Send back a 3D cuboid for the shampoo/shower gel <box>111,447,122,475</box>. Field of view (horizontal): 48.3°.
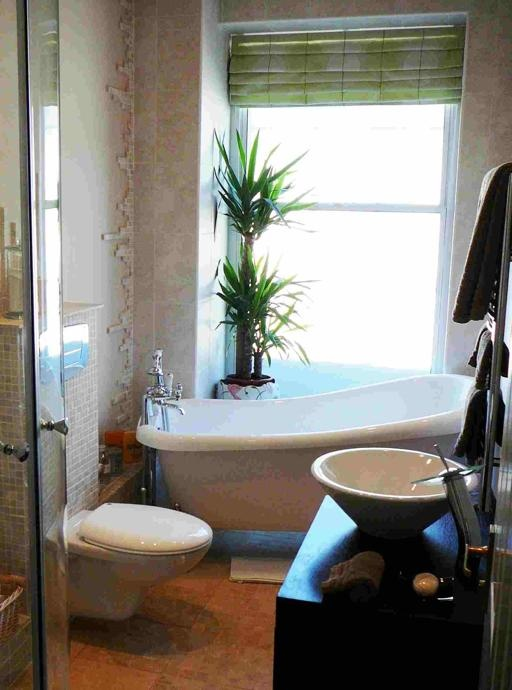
[{"bbox_3d":[-0.765,0.632,3.120,0.059,0.134,0.025,-2,7,-18],"label":"shampoo/shower gel"}]

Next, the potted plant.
[{"bbox_3d":[0.033,-0.553,3.803,0.634,1.826,0.684,-1,7,-5],"label":"potted plant"}]

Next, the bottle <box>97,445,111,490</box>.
[{"bbox_3d":[-0.811,0.636,3.047,0.062,0.173,0.164,-1,7,-12],"label":"bottle"}]

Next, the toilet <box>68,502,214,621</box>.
[{"bbox_3d":[-0.439,0.879,2.263,0.503,0.381,0.370,2,9,2],"label":"toilet"}]

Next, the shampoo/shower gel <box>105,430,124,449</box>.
[{"bbox_3d":[-0.802,0.530,3.234,0.126,0.097,0.074,3,13,0],"label":"shampoo/shower gel"}]

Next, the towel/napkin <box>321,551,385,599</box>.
[{"bbox_3d":[0.187,0.446,1.112,0.079,0.023,0.083,-17,20,27],"label":"towel/napkin"}]

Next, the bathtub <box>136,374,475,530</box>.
[{"bbox_3d":[0.301,0.501,2.952,1.526,0.666,0.862,-7,7,6],"label":"bathtub"}]
